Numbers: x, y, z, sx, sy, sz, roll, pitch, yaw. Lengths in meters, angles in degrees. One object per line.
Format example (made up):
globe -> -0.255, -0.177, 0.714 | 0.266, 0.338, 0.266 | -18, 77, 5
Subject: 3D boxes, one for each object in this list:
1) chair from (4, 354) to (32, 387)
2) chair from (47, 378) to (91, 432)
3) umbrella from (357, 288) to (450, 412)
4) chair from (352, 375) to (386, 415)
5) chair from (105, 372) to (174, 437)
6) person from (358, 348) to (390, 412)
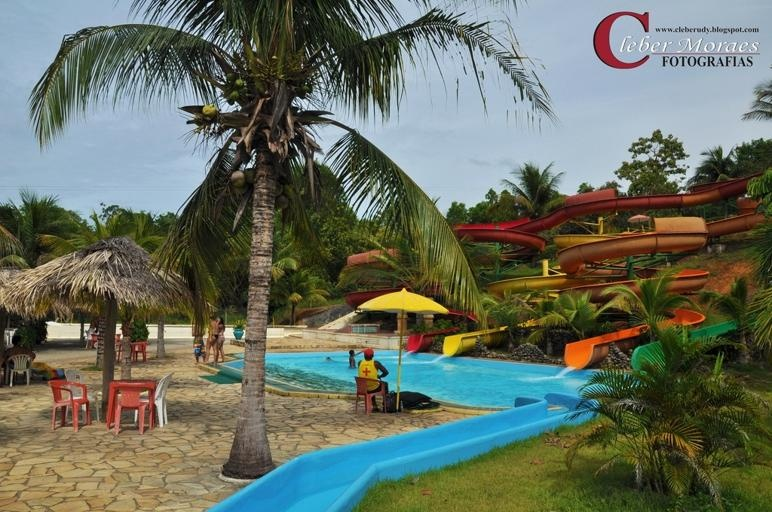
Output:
chair -> -9.871, 3.077, 16.427 | 0.556, 0.831, 0.382 | 3, -7, -41
chair -> -6.772, 3.225, 13.008 | 0.890, 1.186, 0.989 | -1, -3, 0
umbrella -> 0.756, 3.328, 21.669 | 3.553, 4.176, 3.658 | -4, -9, 38
chair -> -0.364, 3.273, 14.483 | 0.731, 0.832, 0.774 | -2, -2, 9
chair -> -5.160, 3.061, 12.773 | 1.180, 0.897, 1.195 | 0, -7, 0
person -> -0.234, 2.963, 14.607 | 0.745, 1.524, 0.883 | -3, -5, 31
